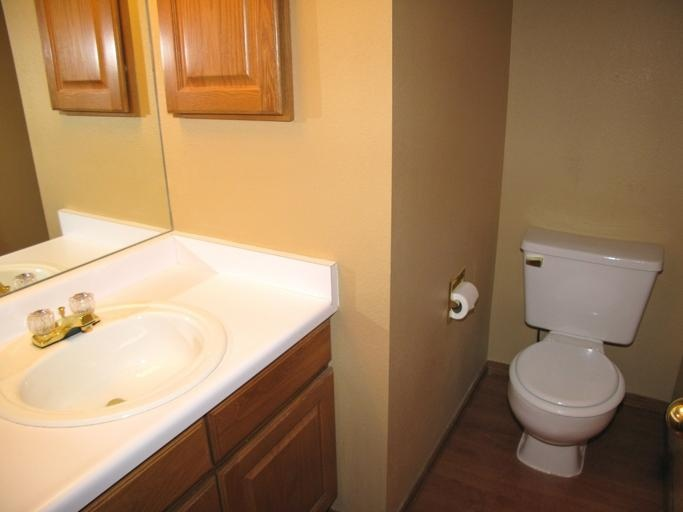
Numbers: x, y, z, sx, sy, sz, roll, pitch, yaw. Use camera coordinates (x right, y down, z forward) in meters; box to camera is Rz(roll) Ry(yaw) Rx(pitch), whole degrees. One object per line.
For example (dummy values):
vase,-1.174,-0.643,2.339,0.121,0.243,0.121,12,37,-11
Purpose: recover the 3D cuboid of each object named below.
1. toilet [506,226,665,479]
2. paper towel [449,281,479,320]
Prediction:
toilet,0.989,0.466,2.276,0.537,0.908,0.793,12,29,29
paper towel,0.495,0.186,2.122,0.090,0.139,0.140,10,25,26
